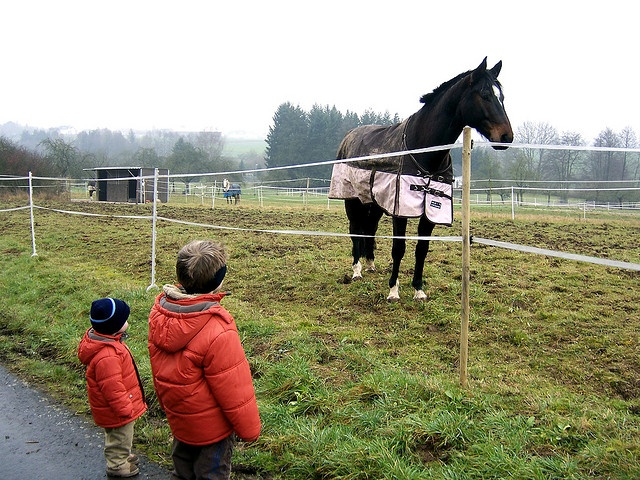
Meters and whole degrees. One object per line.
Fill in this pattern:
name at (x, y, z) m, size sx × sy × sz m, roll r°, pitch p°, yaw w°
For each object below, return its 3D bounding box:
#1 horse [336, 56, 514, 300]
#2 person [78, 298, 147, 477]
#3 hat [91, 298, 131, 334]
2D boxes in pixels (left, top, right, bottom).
horse at (1.101, -0.650, 7.675) m, size 0.997 × 2.932 × 3.631 m, roll 1°, pitch 5°, yaw -24°
person at (-1.716, 1.205, 4.720) m, size 0.466 × 1.383 × 0.581 m, roll -10°, pitch 16°, yaw -30°
hat at (-1.828, 0.657, 4.840) m, size 0.377 × 0.342 × 0.367 m, roll -8°, pitch 1°, yaw -32°
